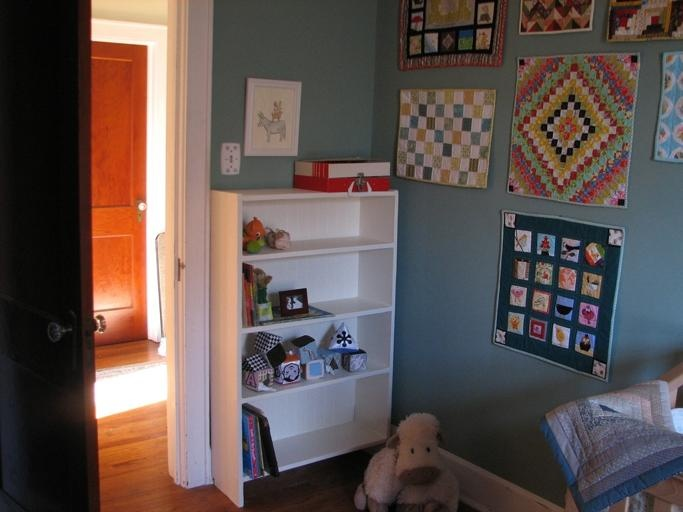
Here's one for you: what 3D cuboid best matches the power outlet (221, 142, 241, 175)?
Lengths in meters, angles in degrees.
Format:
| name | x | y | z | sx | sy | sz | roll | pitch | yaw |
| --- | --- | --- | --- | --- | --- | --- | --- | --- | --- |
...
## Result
| name | x | y | z | sx | sy | sz | roll | pitch | yaw |
| --- | --- | --- | --- | --- | --- | --- | --- | --- | --- |
| power outlet | -0.555 | -0.487 | 2.722 | 0.135 | 0.221 | 0.023 | -6 | 12 | -38 |

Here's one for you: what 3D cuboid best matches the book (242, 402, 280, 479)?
| name | x | y | z | sx | sy | sz | roll | pitch | yaw |
| --- | --- | --- | --- | --- | --- | --- | --- | --- | --- |
| book | -0.405 | 0.906 | 2.735 | 0.191 | 0.327 | 0.206 | 2 | 14 | -2 |

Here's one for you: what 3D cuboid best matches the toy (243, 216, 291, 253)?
| name | x | y | z | sx | sy | sz | roll | pitch | yaw |
| --- | --- | --- | --- | --- | --- | --- | --- | --- | --- |
| toy | -0.367 | -0.090 | 2.713 | 0.201 | 0.138 | 0.172 | 2 | 42 | -15 |
